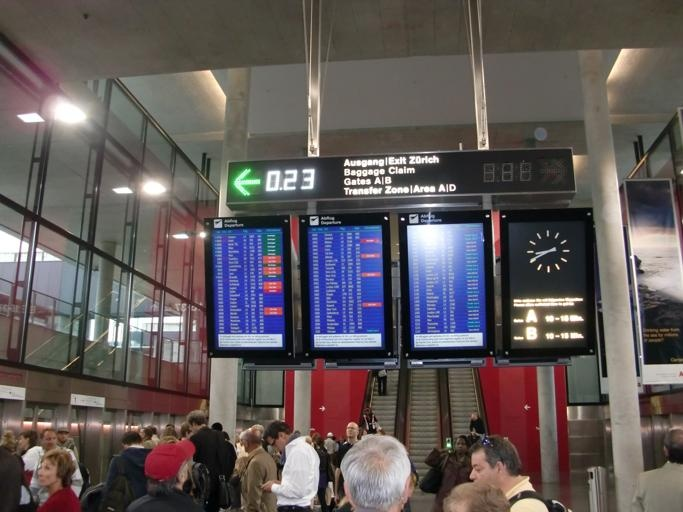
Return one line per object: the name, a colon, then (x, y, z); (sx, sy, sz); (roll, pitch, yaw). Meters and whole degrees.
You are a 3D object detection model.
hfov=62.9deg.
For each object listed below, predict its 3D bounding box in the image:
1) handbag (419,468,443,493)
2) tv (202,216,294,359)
handbag: (0.953, 2.444, 6.039); (0.245, 0.263, 0.343); (-1, -15, -2)
tv: (-0.915, 0.309, 5.452); (0.854, 1.349, 0.418); (-1, -15, -1)
